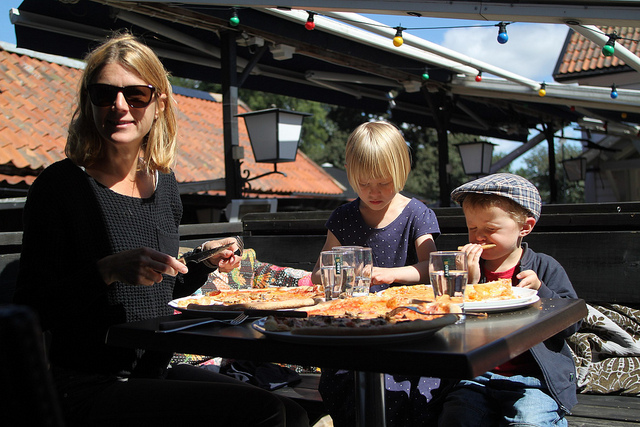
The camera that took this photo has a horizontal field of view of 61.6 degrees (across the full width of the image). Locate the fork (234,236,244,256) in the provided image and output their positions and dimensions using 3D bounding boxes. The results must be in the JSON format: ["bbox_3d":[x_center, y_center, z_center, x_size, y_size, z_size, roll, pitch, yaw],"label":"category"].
[{"bbox_3d":[-0.423,0.180,2.834,0.064,0.078,0.071,-8,-3,3],"label":"fork"}]

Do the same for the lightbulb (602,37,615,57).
[{"bbox_3d":[2.545,-1.482,4.747,0.090,0.152,0.265,11,12,24],"label":"lightbulb"}]

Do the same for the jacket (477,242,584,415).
[{"bbox_3d":[0.989,0.640,2.897,0.751,0.979,0.642,-3,-6,35],"label":"jacket"}]

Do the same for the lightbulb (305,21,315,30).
[{"bbox_3d":[-0.082,-1.821,5.111,0.091,0.049,0.127,2,0,-4],"label":"lightbulb"}]

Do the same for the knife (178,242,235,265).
[{"bbox_3d":[-0.579,0.211,2.785,0.330,0.056,0.027,-19,24,-4],"label":"knife"}]

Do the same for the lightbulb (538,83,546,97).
[{"bbox_3d":[3.288,-1.856,7.947,0.111,0.185,0.260,10,11,20],"label":"lightbulb"}]

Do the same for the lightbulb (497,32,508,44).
[{"bbox_3d":[1.552,-1.497,4.582,0.088,0.089,0.088,-19,10,31],"label":"lightbulb"}]

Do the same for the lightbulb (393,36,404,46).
[{"bbox_3d":[0.756,-1.676,5.128,0.105,0.140,0.104,1,-5,1],"label":"lightbulb"}]

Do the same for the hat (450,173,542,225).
[{"bbox_3d":[1.021,-0.114,3.127,0.506,0.245,0.373,6,11,2],"label":"hat"}]

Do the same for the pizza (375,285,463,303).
[{"bbox_3d":[0.456,0.376,2.570,0.264,0.068,0.189,3,-4,35],"label":"pizza"}]

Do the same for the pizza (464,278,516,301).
[{"bbox_3d":[0.780,0.357,2.475,0.135,0.042,0.132,-5,0,4],"label":"pizza"}]

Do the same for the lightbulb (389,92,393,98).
[{"bbox_3d":[1.161,-1.947,8.759,0.059,0.076,0.092,7,11,5],"label":"lightbulb"}]

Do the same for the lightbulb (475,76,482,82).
[{"bbox_3d":[2.391,-2.057,8.103,0.084,0.060,0.087,-1,-4,15],"label":"lightbulb"}]
